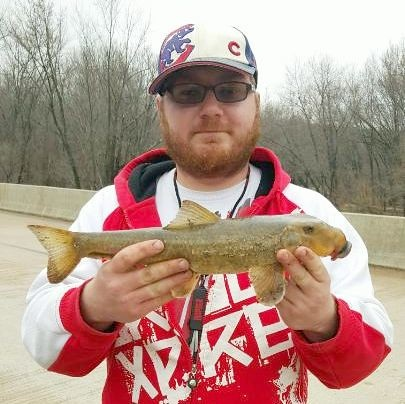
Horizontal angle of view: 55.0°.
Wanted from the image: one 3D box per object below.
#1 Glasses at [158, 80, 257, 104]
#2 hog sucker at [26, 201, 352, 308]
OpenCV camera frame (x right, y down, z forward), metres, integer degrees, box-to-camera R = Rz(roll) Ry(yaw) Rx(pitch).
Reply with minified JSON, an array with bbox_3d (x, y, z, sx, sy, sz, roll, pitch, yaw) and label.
[{"bbox_3d":[0.036,-0.666,2.375,0.326,0.188,0.224,5,13,19],"label":"Glasses"},{"bbox_3d":[-0.025,0.214,1.721,1.321,0.412,0.235,0,5,6],"label":"hog sucker"}]
